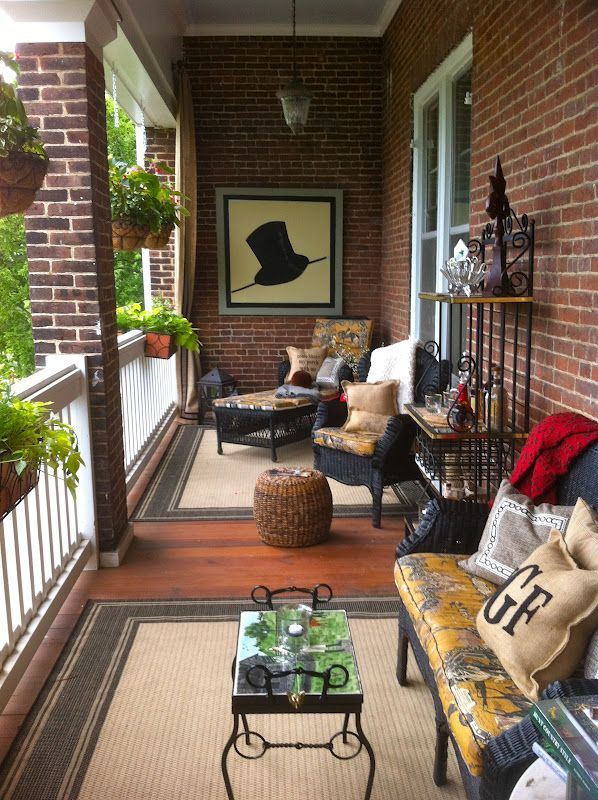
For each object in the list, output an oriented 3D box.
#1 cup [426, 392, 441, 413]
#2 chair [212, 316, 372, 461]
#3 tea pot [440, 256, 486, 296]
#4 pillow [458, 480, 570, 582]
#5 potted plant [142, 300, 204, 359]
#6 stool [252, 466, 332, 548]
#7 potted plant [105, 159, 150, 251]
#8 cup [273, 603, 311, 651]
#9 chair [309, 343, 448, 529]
[{"bbox_3d":[0.695,0.007,2.965,0.072,0.097,0.093,-1,-2,20],"label":"cup"},{"bbox_3d":[-0.021,-0.181,5.603,0.845,1.183,1.698,7,12,33],"label":"chair"},{"bbox_3d":[0.772,-0.564,2.678,0.199,0.190,0.171,1,1,28],"label":"tea pot"},{"bbox_3d":[0.647,0.432,1.713,0.079,0.265,0.262,32,6,-8],"label":"pillow"},{"bbox_3d":[-1.117,-0.625,4.957,0.293,0.356,0.605,0,6,7],"label":"potted plant"},{"bbox_3d":[-0.037,0.598,3.358,0.397,0.392,0.408,0,3,-1],"label":"stool"},{"bbox_3d":[-1.058,-1.208,3.566,0.213,0.491,0.326,-3,7,-16],"label":"potted plant"},{"bbox_3d":[-0.018,0.607,1.514,0.083,0.098,0.083,1,-4,0],"label":"cup"},{"bbox_3d":[0.573,0.162,4.070,0.912,1.090,0.898,-3,10,-23],"label":"chair"}]
